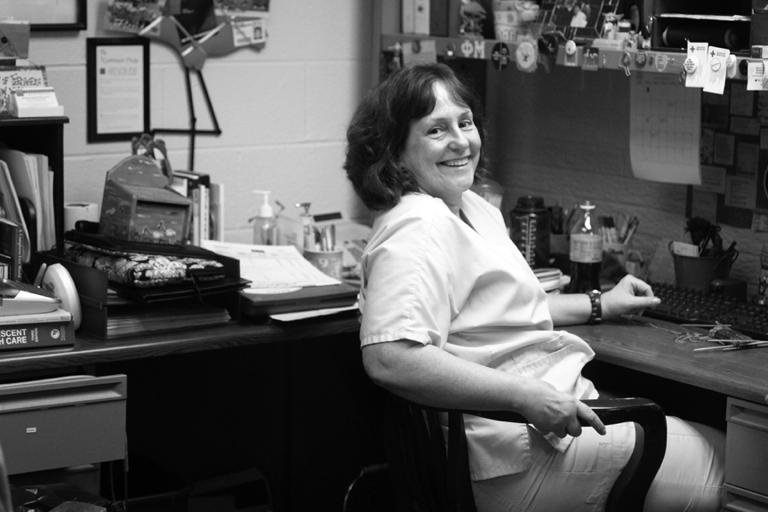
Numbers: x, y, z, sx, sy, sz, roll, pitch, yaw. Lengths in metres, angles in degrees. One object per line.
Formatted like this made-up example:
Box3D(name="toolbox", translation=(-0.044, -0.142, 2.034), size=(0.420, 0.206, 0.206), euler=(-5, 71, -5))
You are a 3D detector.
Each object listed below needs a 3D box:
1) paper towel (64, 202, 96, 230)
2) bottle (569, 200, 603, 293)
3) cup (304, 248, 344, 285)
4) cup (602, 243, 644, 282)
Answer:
Box3D(name="paper towel", translation=(-1.101, -0.164, 2.449), size=(0.118, 0.118, 0.110), euler=(-7, 16, -36))
Box3D(name="bottle", translation=(0.720, -0.011, 2.404), size=(0.121, 0.356, 0.124), euler=(-3, 18, 1))
Box3D(name="cup", translation=(-0.220, 0.033, 2.454), size=(0.125, 0.128, 0.113), euler=(1, 5, 1))
Box3D(name="cup", translation=(0.896, 0.037, 2.511), size=(0.140, 0.137, 0.109), euler=(-13, -11, 9))
